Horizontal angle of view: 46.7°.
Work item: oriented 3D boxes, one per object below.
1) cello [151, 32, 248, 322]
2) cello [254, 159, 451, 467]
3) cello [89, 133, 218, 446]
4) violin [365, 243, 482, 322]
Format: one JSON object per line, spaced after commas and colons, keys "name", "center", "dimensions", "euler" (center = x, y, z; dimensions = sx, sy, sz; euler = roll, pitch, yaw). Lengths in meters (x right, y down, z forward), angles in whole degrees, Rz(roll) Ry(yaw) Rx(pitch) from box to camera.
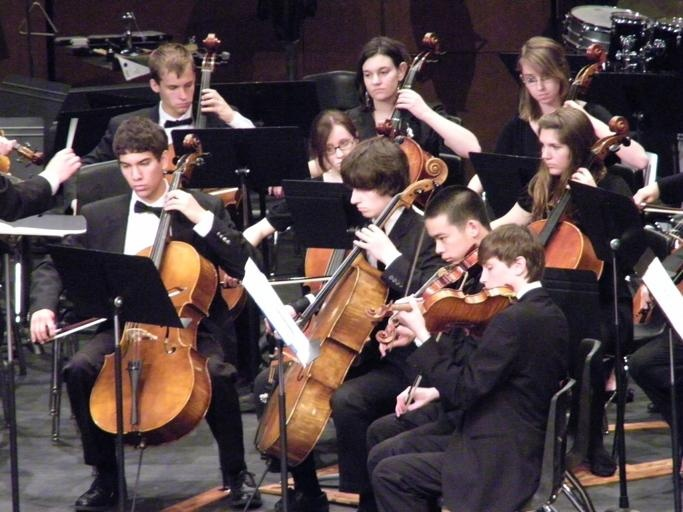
{"name": "cello", "center": [-0.811, -0.593, 5.068], "dimensions": [0.790, 1.845, 0.291], "euler": [1, -7, -9]}
{"name": "cello", "center": [-0.121, 0.444, 4.143], "dimensions": [0.423, 1.747, 0.716], "euler": [35, -42, -13]}
{"name": "cello", "center": [-0.913, 0.166, 4.195], "dimensions": [0.648, 1.579, 0.524], "euler": [-9, -29, 22]}
{"name": "violin", "center": [0.332, 0.095, 3.501], "dimensions": [0.593, 0.114, 0.240], "euler": [-35, -8, -12]}
